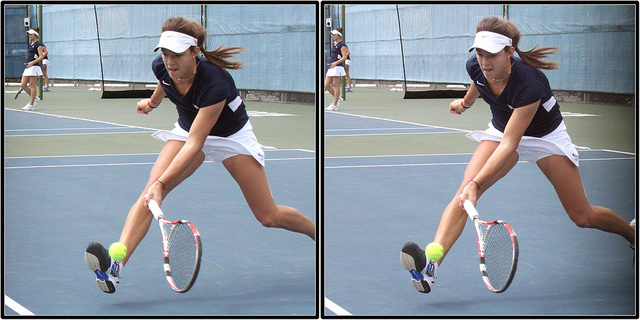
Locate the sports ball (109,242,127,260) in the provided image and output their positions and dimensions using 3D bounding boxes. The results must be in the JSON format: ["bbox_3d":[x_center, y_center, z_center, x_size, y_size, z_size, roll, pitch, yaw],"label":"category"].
[{"bbox_3d":[-1.998,0.897,4.489,0.180,0.153,0.169,-6,-7,-1],"label":"sports ball"}]

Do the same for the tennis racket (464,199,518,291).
[{"bbox_3d":[1.691,0.864,4.582,0.519,0.902,0.643,5,10,17],"label":"tennis racket"}]
